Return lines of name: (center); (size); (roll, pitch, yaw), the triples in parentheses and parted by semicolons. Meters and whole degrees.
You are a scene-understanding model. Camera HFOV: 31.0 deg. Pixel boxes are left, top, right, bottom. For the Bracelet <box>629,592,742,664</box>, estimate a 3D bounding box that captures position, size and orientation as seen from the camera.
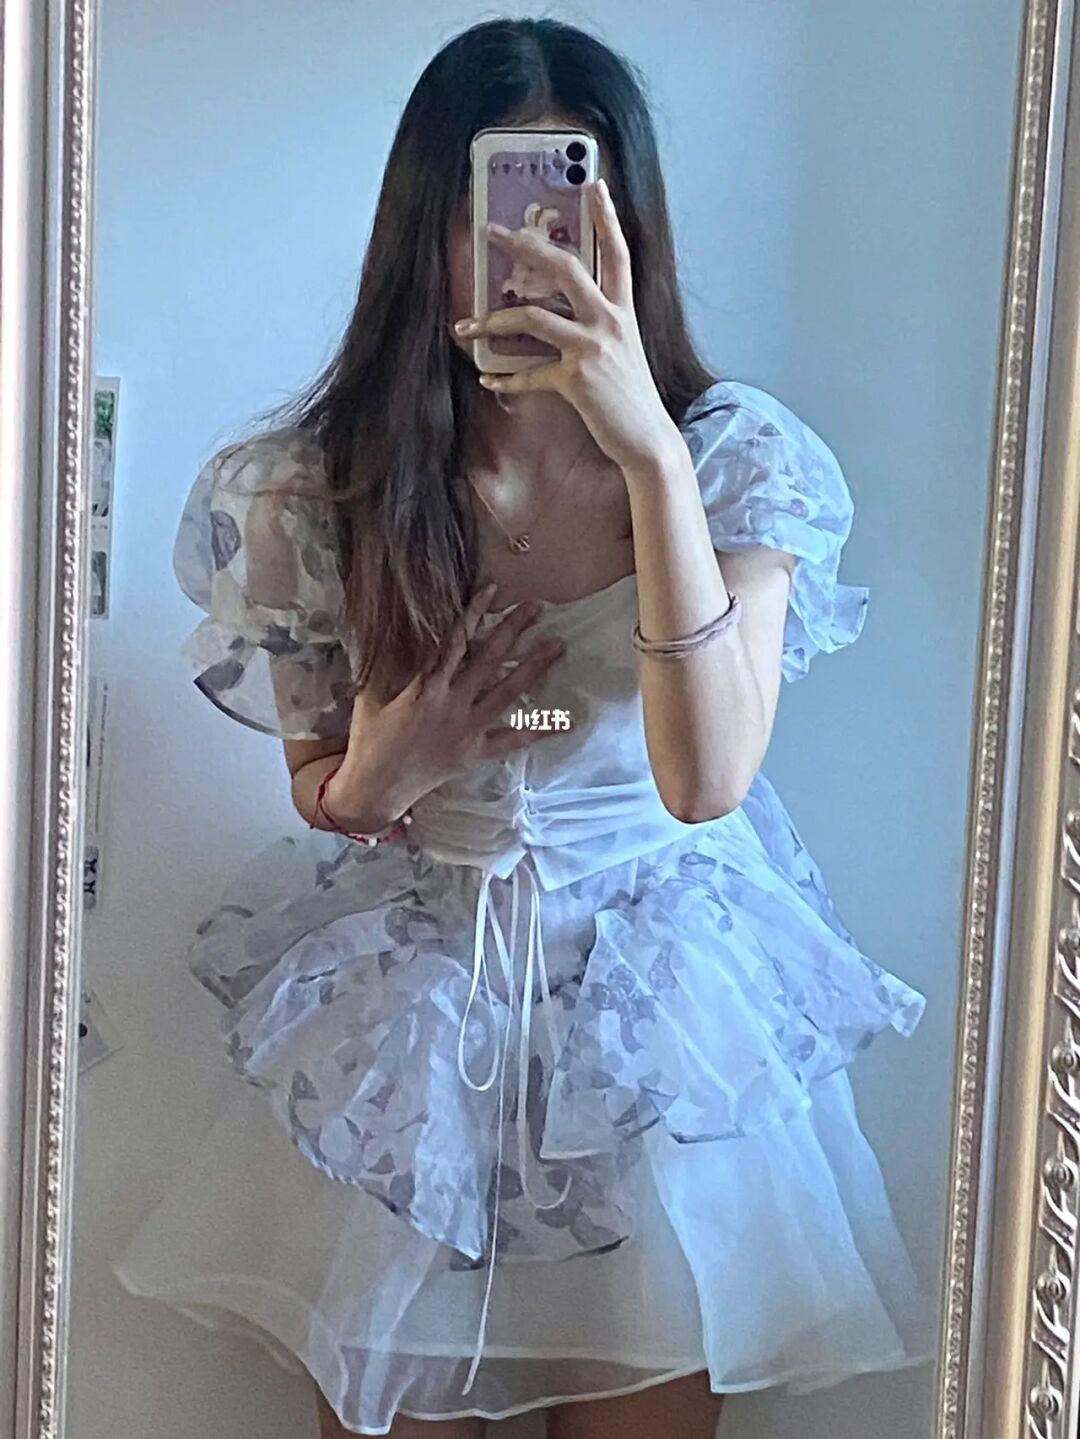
Bracelet: (0.073, -0.045, 0.980); (0.054, 0.029, 0.016); (-4, 9, 5)
